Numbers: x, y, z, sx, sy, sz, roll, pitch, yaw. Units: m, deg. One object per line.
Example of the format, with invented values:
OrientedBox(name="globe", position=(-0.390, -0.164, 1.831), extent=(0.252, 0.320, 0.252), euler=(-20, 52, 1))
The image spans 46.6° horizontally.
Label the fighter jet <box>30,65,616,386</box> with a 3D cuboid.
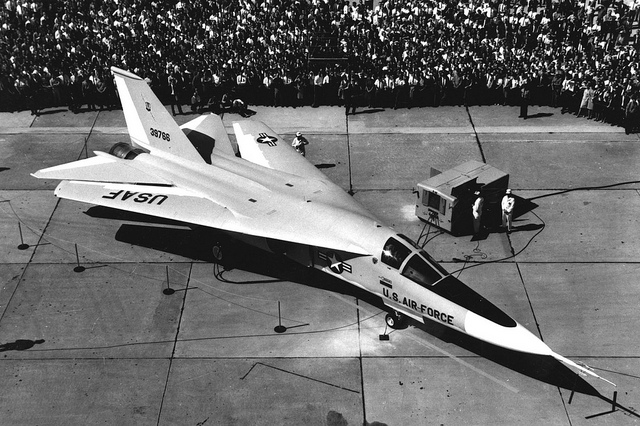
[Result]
OrientedBox(name="fighter jet", position=(-2.235, 2.640, 35.214), extent=(25.899, 6.232, 11.548), euler=(24, 39, 20))
